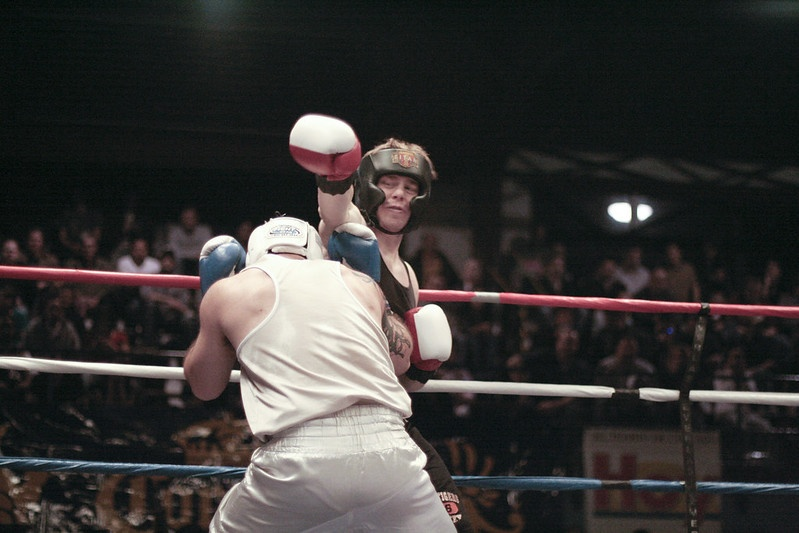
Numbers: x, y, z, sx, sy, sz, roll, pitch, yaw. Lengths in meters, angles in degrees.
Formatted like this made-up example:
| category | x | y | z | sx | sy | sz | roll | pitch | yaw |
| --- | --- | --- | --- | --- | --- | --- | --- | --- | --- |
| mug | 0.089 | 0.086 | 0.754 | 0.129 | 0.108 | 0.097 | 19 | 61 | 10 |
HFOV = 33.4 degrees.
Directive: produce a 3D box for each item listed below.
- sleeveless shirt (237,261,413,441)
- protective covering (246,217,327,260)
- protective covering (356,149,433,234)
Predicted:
| category | x | y | z | sx | sy | sz | roll | pitch | yaw |
| --- | --- | --- | --- | --- | --- | --- | --- | --- | --- |
| sleeveless shirt | -0.603 | 0.658 | 10.129 | 1.569 | 1.461 | 0.972 | 0 | -11 | -28 |
| protective covering | -0.857 | -0.212 | 10.314 | 0.533 | 0.318 | 0.426 | 3 | 8 | -7 |
| protective covering | -0.079 | -0.664 | 11.082 | 0.719 | 0.716 | 0.820 | 8 | 2 | -9 |
